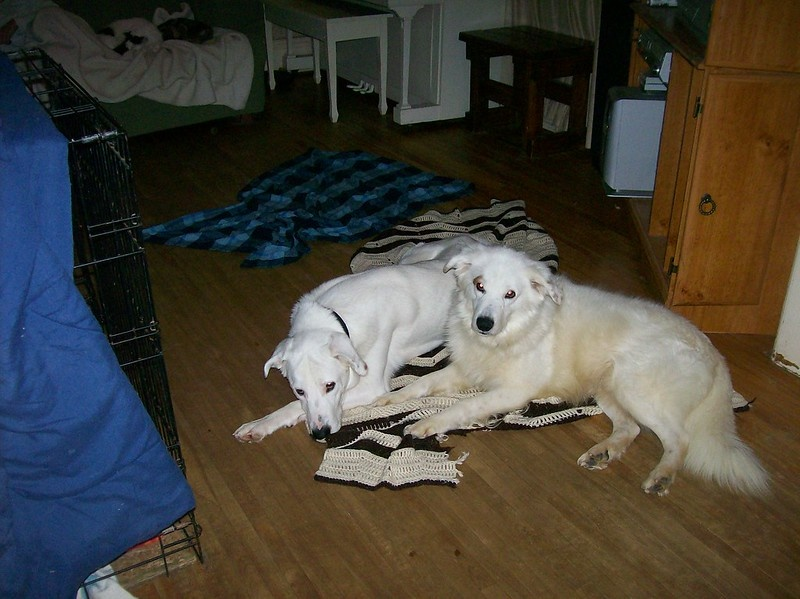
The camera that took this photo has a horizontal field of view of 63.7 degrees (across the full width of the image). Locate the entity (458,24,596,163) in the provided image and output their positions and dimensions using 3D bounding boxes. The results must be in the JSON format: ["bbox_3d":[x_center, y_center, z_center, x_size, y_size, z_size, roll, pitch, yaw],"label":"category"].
[{"bbox_3d":[1.283,-2.150,6.525,0.796,0.997,1.273,-14,32,-19],"label":"entity"}]

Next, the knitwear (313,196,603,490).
[{"bbox_3d":[0.348,0.280,2.963,1.536,0.072,1.361,-4,32,-4],"label":"knitwear"}]

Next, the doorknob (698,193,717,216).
[{"bbox_3d":[1.701,-0.526,3.558,0.082,0.112,0.029,-5,18,17],"label":"doorknob"}]

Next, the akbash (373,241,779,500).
[{"bbox_3d":[0.968,0.398,3.294,1.549,0.697,1.138,8,36,16],"label":"akbash"}]
